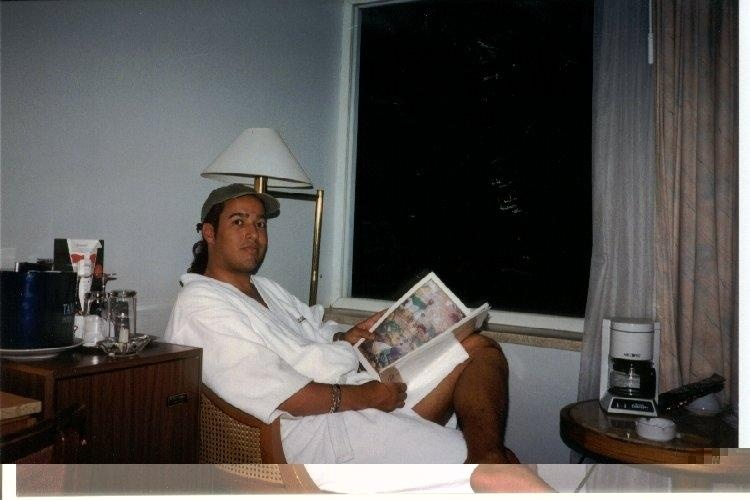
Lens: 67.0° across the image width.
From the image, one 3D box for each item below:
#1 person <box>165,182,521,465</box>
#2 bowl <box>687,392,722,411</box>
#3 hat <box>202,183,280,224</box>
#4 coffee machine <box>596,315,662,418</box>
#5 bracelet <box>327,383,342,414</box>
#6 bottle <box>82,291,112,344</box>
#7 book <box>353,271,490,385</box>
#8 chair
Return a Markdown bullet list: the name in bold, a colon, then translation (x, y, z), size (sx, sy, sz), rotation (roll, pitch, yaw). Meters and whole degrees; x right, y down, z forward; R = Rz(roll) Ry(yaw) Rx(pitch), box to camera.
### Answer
- **person**: translation (-0.072, 0.346, 2.742), size (1.580, 1.149, 0.980), rotation (-1, 0, 8)
- **bowl**: translation (1.397, 0.645, 2.402), size (0.085, 0.034, 0.086), rotation (-4, 3, 0)
- **hat**: translation (-0.627, -0.191, 2.638), size (0.280, 0.144, 0.209), rotation (-18, -11, 15)
- **coffee machine**: translation (1.090, 0.492, 2.432), size (0.328, 0.479, 0.377), rotation (0, -6, 16)
- **bracelet**: translation (-0.160, 0.601, 2.295), size (0.032, 0.087, 0.077), rotation (9, -15, -16)
- **bottle**: translation (-1.116, 0.272, 2.256), size (0.091, 0.153, 0.206), rotation (2, -1, -28)
- **book**: translation (0.233, 0.389, 2.728), size (0.429, 0.572, 0.193), rotation (49, 7, 23)
- **chair**: translation (-0.491, 0.714, 2.374), size (0.395, 0.523, 0.370), rotation (-2, -4, -13)
